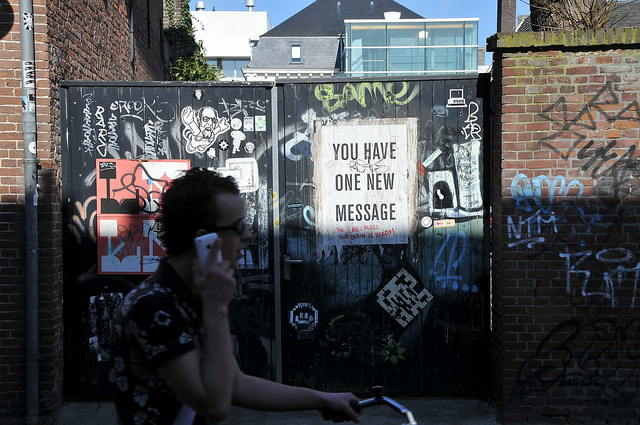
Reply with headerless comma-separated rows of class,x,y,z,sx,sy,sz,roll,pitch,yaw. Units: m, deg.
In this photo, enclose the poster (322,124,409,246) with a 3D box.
poster,0.608,-0.320,9.311,1.257,1.919,0.155,-1,-29,2
